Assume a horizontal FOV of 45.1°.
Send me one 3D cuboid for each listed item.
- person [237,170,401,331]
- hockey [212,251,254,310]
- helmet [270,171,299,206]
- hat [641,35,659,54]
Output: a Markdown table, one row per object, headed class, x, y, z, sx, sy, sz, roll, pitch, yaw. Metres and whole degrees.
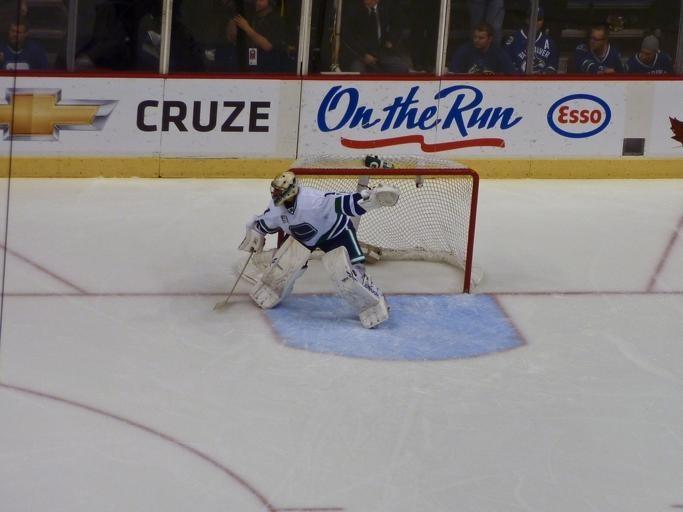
| class | x | y | z | sx | sy | sz | roll | pitch | yaw |
| --- | --- | --- | --- | --- | --- | --- | --- | --- | --- |
| person | -0.143 | -0.126 | 6.234 | 0.791 | 1.065 | 1.717 | -20 | 19 | -41 |
| hockey | -0.884 | 0.215 | 6.683 | 0.067 | 0.073 | 0.538 | 32 | 63 | -2 |
| helmet | -0.435 | -0.499 | 6.045 | 0.241 | 0.196 | 0.190 | -21 | 25 | -41 |
| hat | 3.526 | -2.436 | 9.391 | 0.165 | 0.176 | 0.176 | 14 | 35 | -10 |
